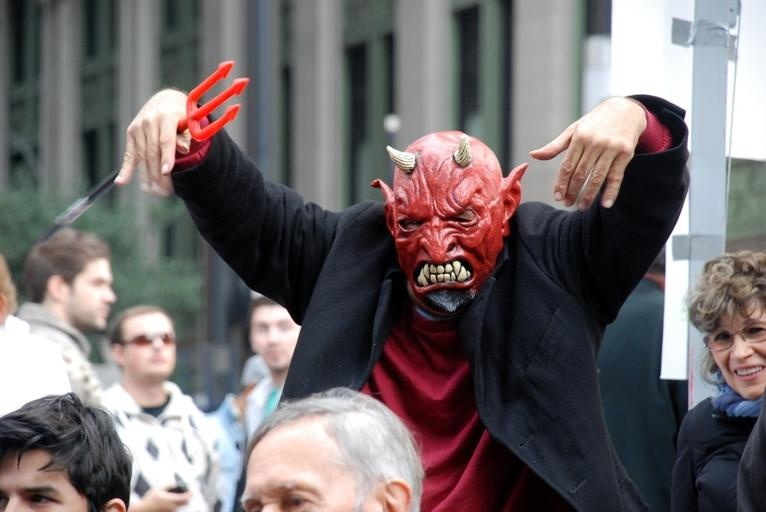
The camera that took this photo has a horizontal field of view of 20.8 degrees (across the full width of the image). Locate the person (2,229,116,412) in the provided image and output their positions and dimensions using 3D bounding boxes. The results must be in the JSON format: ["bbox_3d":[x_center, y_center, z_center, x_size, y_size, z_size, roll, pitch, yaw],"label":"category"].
[{"bbox_3d":[-2.696,0.525,17.502,0.770,1.425,1.560,-2,9,3],"label":"person"}]
